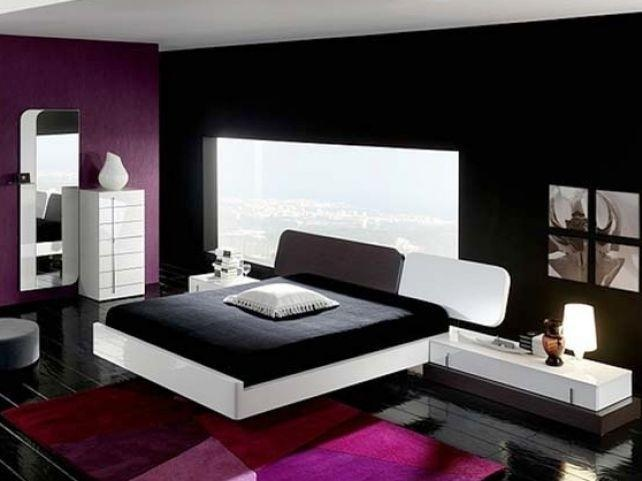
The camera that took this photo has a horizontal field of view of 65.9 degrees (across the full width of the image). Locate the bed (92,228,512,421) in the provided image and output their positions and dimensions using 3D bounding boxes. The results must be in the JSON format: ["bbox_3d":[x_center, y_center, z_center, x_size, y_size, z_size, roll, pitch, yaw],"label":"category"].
[{"bbox_3d":[-0.006,0.630,3.516,1.770,0.557,1.872,-5,9,-41],"label":"bed"}]

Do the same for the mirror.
[{"bbox_3d":[-3.007,-0.453,5.519,0.070,1.984,0.685,9,11,44],"label":"mirror"}]
